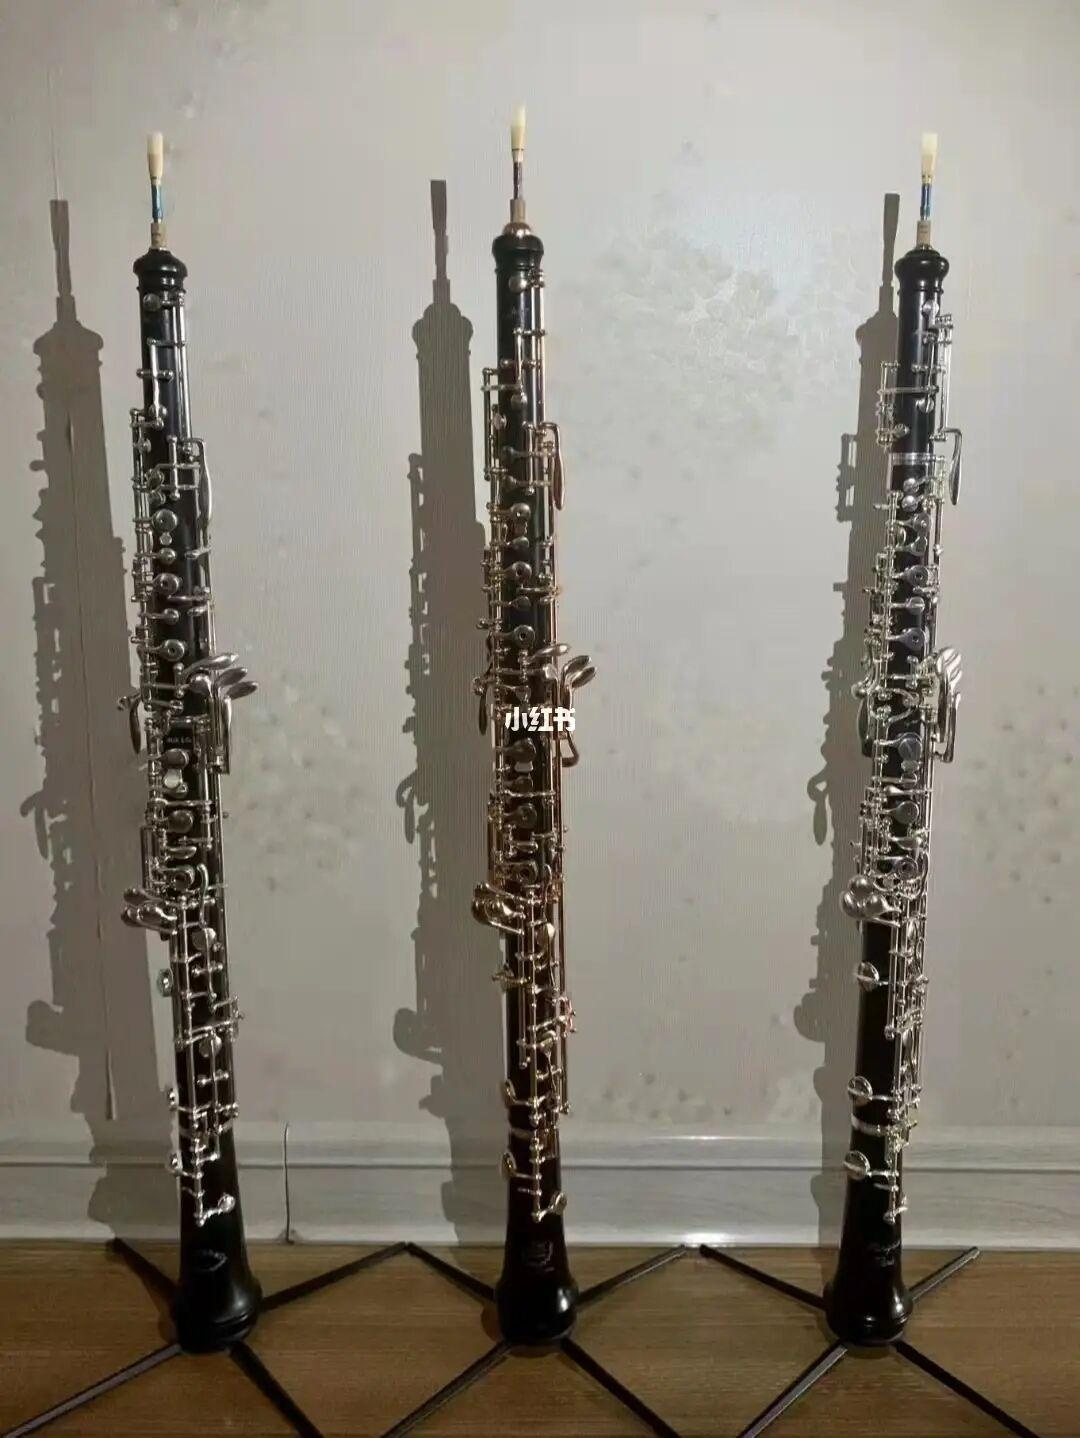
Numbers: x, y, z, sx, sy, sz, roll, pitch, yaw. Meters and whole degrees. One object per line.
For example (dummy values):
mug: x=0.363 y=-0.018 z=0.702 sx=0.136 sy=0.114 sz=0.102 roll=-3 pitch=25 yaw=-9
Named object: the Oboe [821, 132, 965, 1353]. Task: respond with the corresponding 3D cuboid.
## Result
Oboe: x=0.541 y=0.133 z=2.996 sx=0.166 sy=1.652 sz=0.149 roll=3 pitch=7 yaw=19
